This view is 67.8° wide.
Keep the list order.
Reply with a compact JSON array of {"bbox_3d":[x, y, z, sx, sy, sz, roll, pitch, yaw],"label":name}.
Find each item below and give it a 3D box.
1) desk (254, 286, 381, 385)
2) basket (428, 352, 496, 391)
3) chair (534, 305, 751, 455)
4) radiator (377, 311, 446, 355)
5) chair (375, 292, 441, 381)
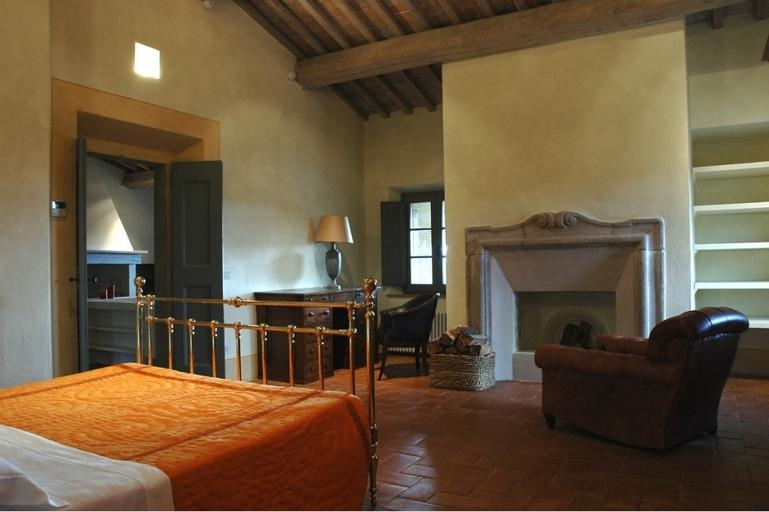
[{"bbox_3d":[-0.876,1.029,7.716,0.818,1.116,1.728,-3,-3,29],"label":"desk"},{"bbox_3d":[0.898,1.308,6.522,0.739,0.395,0.292,-1,7,2],"label":"basket"},{"bbox_3d":[2.281,0.932,5.208,1.297,1.185,1.426,1,-2,-37],"label":"chair"},{"bbox_3d":[0.355,0.954,7.225,0.796,0.286,1.124,0,0,6],"label":"radiator"},{"bbox_3d":[0.337,0.993,7.367,0.637,0.805,0.713,2,-4,25],"label":"chair"}]
